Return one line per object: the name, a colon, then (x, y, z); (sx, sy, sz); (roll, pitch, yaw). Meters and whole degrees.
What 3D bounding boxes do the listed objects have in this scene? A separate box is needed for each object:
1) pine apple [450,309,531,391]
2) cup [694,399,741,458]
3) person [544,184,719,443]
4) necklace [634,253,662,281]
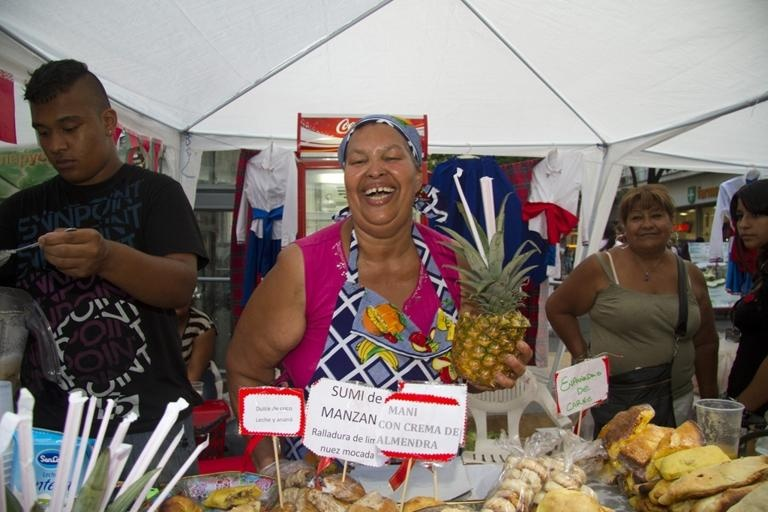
pine apple: (0.585, 0.536, 3.020); (0.414, 0.416, 0.192); (2, 1, 7)
cup: (1.894, 0.966, 3.112); (0.276, 0.338, 0.305); (0, -10, 9)
person: (2.167, 0.475, 4.840); (1.138, 2.648, 1.260); (1, 2, 14)
necklace: (2.222, 0.109, 4.596); (0.141, 0.206, 0.177); (-5, -17, 21)
